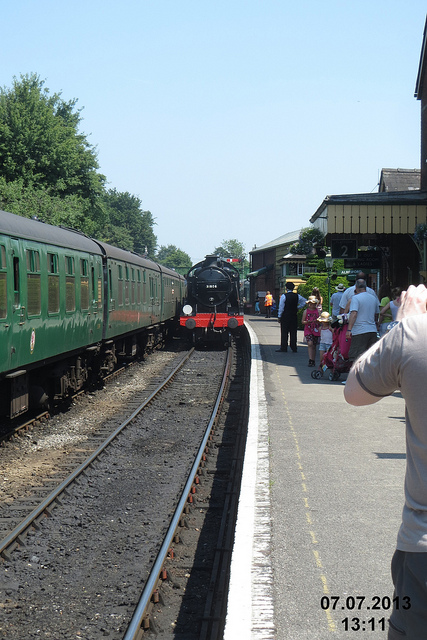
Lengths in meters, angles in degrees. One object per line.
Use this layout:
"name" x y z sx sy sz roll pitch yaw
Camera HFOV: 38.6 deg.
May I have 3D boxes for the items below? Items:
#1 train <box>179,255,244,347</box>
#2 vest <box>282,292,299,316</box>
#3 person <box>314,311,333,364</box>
"train" 0.057 -0.797 26.687 2.588 3.616 7.047 0 2 2
"vest" 2.287 -0.483 18.152 0.674 0.842 0.483 1 6 -2
"person" 2.368 0.333 12.873 0.294 0.937 0.867 -1 0 9
